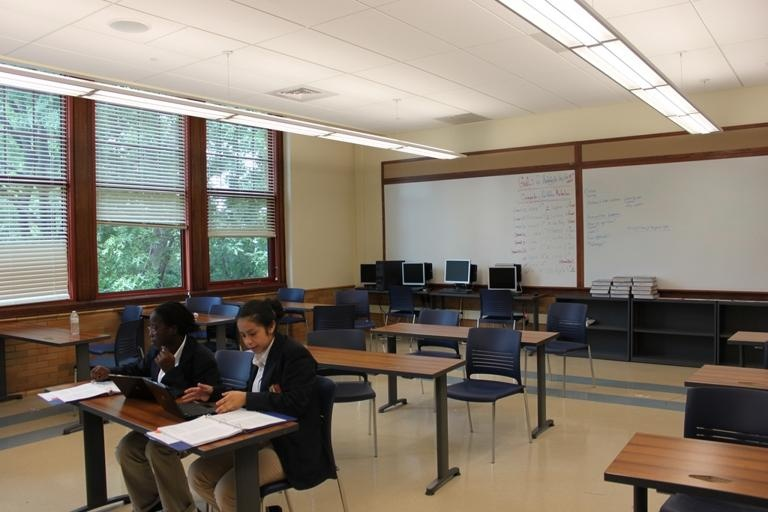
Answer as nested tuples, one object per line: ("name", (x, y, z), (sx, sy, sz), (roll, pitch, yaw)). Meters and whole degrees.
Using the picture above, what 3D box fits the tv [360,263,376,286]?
("tv", (-0.293, 0.349, 9.664), (0.489, 0.457, 0.066), (1, 2, 26))

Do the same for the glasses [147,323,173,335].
("glasses", (-1.600, 0.527, 3.695), (0.148, 0.038, 0.136), (5, -7, -32))

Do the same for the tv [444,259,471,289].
("tv", (1.292, 0.304, 9.044), (0.608, 0.453, 0.060), (-2, -3, 33))

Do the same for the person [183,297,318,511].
("person", (-0.848, 0.964, 3.448), (0.883, 1.338, 0.552), (-3, 8, -14))

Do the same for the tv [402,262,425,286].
("tv", (0.533, 0.329, 9.291), (0.476, 0.373, 0.165), (-1, -2, 26))

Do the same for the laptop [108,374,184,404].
("laptop", (-1.583, 0.872, 3.452), (0.375, 0.206, 0.259), (-7, 11, 34))

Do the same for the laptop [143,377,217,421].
("laptop", (-1.305, 0.942, 3.340), (0.335, 0.180, 0.311), (4, 4, 43))
